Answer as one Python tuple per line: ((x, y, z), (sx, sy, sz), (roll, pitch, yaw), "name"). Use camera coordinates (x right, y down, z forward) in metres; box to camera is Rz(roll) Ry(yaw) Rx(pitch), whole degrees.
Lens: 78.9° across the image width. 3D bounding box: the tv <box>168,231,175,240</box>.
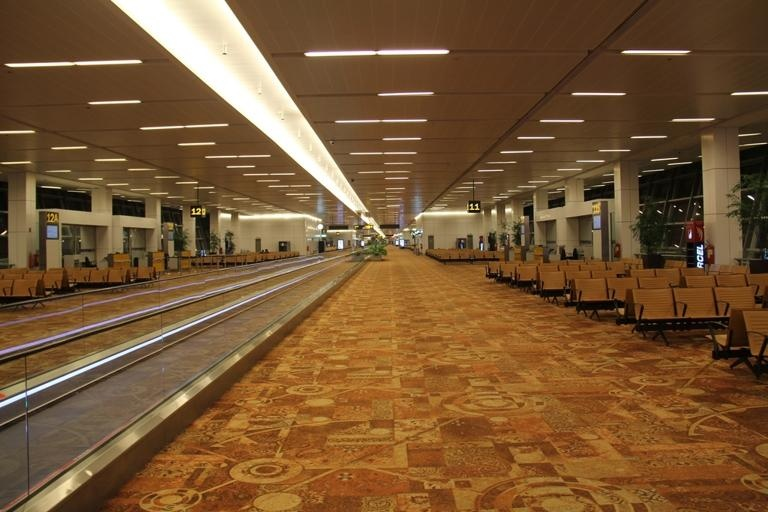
((-14.113, -1.317, 30.967), (0.205, 0.540, 0.674), (-5, 8, -13), "tv")
